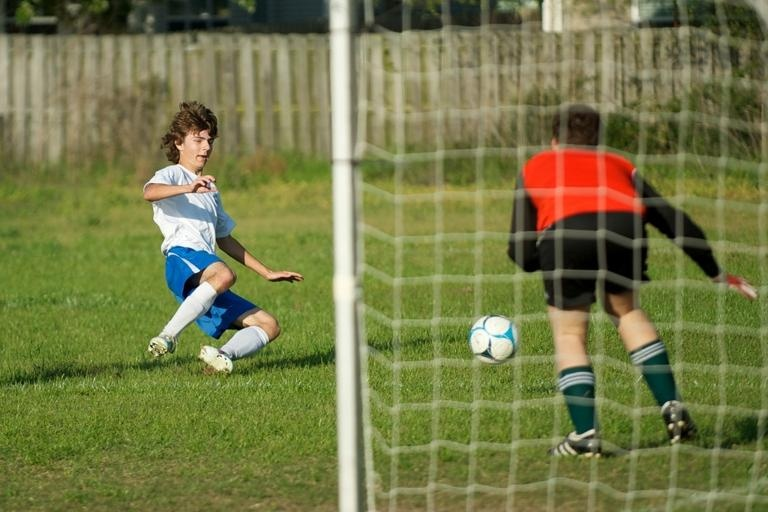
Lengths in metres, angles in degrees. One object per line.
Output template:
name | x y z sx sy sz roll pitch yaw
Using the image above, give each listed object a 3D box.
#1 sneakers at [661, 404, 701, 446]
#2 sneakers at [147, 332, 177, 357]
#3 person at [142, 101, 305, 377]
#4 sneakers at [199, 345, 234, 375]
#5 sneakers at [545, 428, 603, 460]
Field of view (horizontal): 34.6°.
sneakers | 2.538 1.443 10.657 0.254 0.364 0.116 -21 1 -5
sneakers | -2.110 0.849 11.762 0.165 0.183 0.344 -23 6 -17
person | -1.664 -0.167 11.753 1.159 2.551 0.823 -2 8 -13
sneakers | -1.583 0.988 11.697 0.342 0.188 0.157 40 32 -3
sneakers | 1.669 1.631 10.766 0.383 0.290 0.179 3 8 17
